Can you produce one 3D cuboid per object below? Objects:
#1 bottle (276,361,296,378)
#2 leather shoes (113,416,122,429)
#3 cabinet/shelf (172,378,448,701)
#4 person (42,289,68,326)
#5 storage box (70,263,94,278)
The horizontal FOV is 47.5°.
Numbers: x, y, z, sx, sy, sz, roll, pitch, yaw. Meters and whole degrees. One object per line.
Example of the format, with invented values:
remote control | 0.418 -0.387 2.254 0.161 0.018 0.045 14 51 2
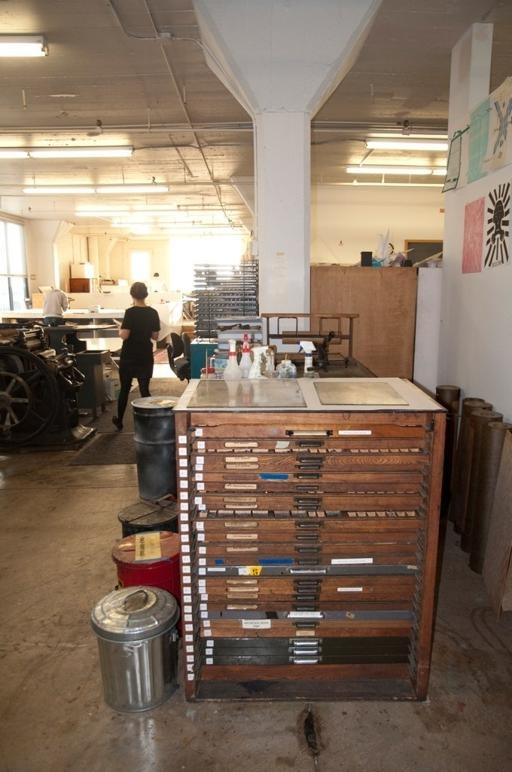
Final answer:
bottle | 0.148 -0.082 2.799 0.082 0.071 0.082 0 5 -17
leather shoes | -1.473 0.398 6.200 0.076 0.183 0.066 -2 34 -6
cabinet/shelf | 0.197 0.577 2.491 1.007 1.211 0.710 0 11 -2
person | -3.112 -1.229 9.039 0.350 0.528 1.122 -4 11 -19
storage box | -5.081 -3.362 16.886 0.514 0.455 0.279 1 4 -2
